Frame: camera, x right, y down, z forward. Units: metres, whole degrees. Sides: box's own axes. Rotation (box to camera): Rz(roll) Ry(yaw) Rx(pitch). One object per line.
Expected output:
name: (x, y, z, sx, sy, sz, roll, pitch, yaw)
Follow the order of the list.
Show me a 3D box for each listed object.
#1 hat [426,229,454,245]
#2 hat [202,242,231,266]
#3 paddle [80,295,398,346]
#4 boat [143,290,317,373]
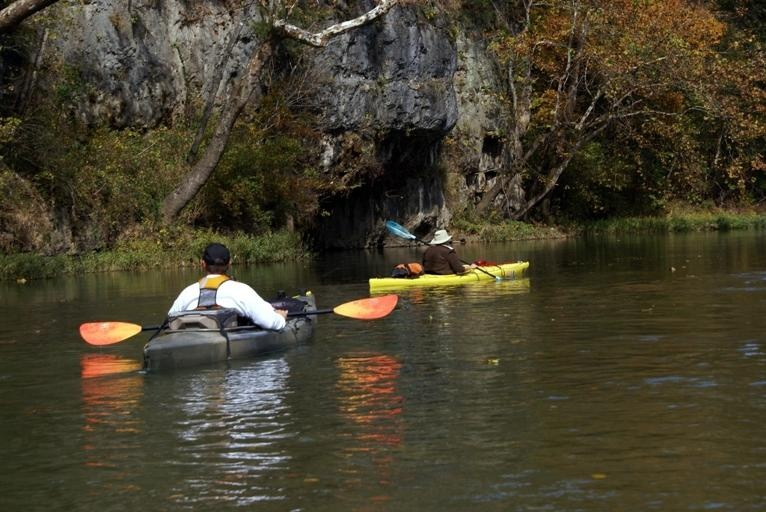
hat: (1.520, -0.411, 27.765, 0.517, 0.216, 0.565, -30, 10, -31)
hat: (-2.945, -0.042, 18.829, 0.454, 0.402, 0.582, -5, 11, -10)
paddle: (-2.628, 1.251, 20.316, 4.995, 0.563, 0.268, -5, -40, -19)
boat: (-2.611, 1.392, 19.335, 1.143, 0.676, 3.586, 7, 9, 35)
